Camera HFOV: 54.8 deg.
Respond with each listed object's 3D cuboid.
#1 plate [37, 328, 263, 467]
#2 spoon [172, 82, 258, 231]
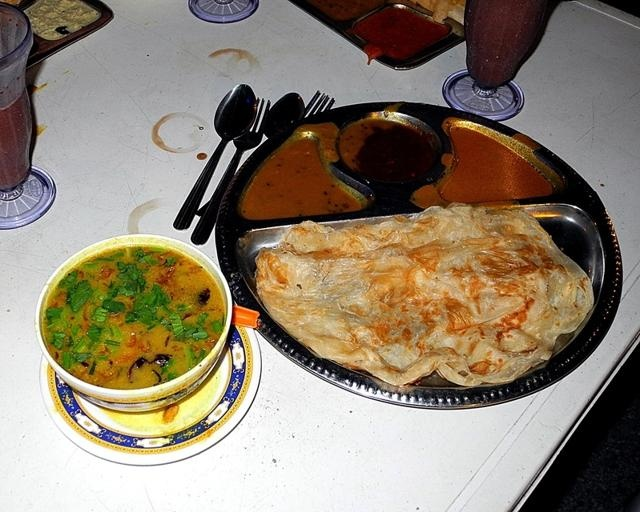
[{"bbox_3d":[-0.450,0.371,1.520,0.462,0.472,0.062,-8,46,5],"label":"plate"},{"bbox_3d":[-0.356,-0.392,2.234,0.141,0.086,0.740,15,66,10],"label":"spoon"}]
